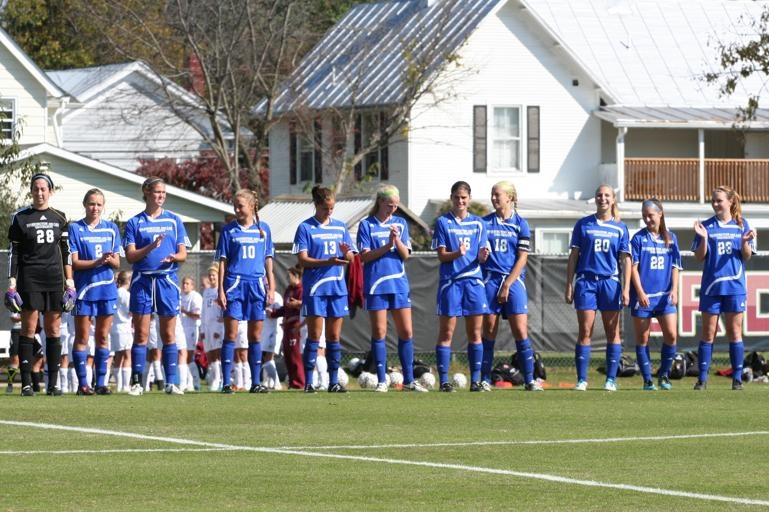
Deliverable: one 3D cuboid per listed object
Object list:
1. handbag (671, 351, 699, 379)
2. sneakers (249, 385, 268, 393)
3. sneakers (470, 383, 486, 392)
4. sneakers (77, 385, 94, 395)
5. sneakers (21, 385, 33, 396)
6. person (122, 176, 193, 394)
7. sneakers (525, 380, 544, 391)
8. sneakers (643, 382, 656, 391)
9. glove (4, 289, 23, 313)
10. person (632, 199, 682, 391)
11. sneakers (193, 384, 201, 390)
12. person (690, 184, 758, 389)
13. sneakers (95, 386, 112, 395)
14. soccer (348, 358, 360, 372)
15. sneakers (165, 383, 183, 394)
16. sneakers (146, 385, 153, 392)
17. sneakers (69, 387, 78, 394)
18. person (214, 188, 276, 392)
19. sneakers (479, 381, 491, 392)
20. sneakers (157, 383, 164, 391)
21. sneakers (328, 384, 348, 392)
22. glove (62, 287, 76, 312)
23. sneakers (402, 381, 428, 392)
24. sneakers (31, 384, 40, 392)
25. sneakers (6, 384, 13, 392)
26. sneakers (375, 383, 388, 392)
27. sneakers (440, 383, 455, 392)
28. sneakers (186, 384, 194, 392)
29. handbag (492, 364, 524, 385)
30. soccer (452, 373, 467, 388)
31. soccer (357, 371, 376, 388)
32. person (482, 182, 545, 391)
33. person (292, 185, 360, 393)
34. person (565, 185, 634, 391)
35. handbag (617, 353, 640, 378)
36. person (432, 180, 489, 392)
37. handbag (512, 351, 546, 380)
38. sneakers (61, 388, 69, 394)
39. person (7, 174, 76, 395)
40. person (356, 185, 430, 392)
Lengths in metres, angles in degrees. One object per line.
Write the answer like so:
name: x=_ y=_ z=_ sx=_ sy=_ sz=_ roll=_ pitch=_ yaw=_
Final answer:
handbag: x=6.482 y=2.222 z=36.765 sx=0.573 sy=0.797 sz=0.765 roll=1 pitch=-24 yaw=14
sneakers: x=-2.418 y=2.392 z=31.633 sx=0.375 sy=0.156 sz=0.137 roll=1 pitch=-3 yaw=8
sneakers: x=1.716 y=2.395 z=31.955 sx=0.142 sy=0.110 sz=0.251 roll=6 pitch=-11 yaw=-43
sneakers: x=-5.574 y=2.390 z=31.223 sx=0.157 sy=0.118 sz=0.281 roll=3 pitch=-6 yaw=-43
sneakers: x=-6.663 y=2.387 z=31.182 sx=0.235 sy=0.230 sz=0.142 roll=-1 pitch=-1 yaw=8
person: x=-4.253 y=0.471 z=31.073 sx=1.150 sy=3.938 sz=1.069 roll=1 pitch=-4 yaw=-21
sneakers: x=2.842 y=2.379 z=32.218 sx=0.198 sy=0.151 sz=0.366 roll=2 pitch=2 yaw=36
sneakers: x=5.034 y=2.398 z=32.399 sx=0.100 sy=0.112 sz=0.289 roll=3 pitch=4 yaw=44
glove: x=-6.809 y=0.766 z=30.788 sx=0.422 sy=0.304 sz=0.183 roll=18 pitch=-22 yaw=-40
person: x=5.124 y=0.633 z=32.228 sx=0.964 sy=3.614 sz=1.213 roll=-1 pitch=-4 yaw=9
sneakers: x=-3.920 y=2.597 z=34.754 sx=0.126 sy=0.131 sz=0.128 roll=1 pitch=2 yaw=41
person: x=6.446 y=0.528 z=32.350 sx=1.183 sy=3.844 sz=0.916 roll=-1 pitch=-4 yaw=9
sneakers: x=-5.254 y=2.388 z=31.173 sx=0.323 sy=0.135 sz=0.118 roll=-3 pitch=-2 yaw=21
soccer: x=-0.681 y=2.331 z=37.557 sx=0.217 sy=0.275 sz=0.278 roll=5 pitch=15 yaw=-28
sneakers: x=-3.947 y=2.400 z=31.482 sx=0.389 sy=0.158 sz=0.150 roll=-2 pitch=-3 yaw=33
sneakers: x=-4.832 y=2.571 z=34.199 sx=0.174 sy=0.155 sz=0.276 roll=3 pitch=1 yaw=-12
sneakers: x=-6.152 y=2.534 z=33.079 sx=0.130 sy=0.093 sz=0.164 roll=8 pitch=33 yaw=-29
person: x=-2.643 y=0.575 z=31.342 sx=1.024 sy=3.708 sz=0.956 roll=0 pitch=-4 yaw=-6
sneakers: x=1.879 y=2.380 z=32.089 sx=0.194 sy=0.176 sz=0.143 roll=-4 pitch=12 yaw=-41
sneakers: x=-4.609 y=2.556 z=34.350 sx=0.199 sy=0.220 sz=0.196 roll=0 pitch=-3 yaw=-11
sneakers: x=-0.931 y=2.380 z=31.690 sx=0.296 sy=0.123 sz=0.152 roll=-2 pitch=-1 yaw=13
glove: x=-5.784 y=0.707 z=30.719 sx=0.243 sy=0.386 sz=0.175 roll=-7 pitch=-23 yaw=24
sneakers: x=0.519 y=2.386 z=31.950 sx=0.512 sy=0.201 sz=0.183 roll=-2 pitch=-5 yaw=27
sneakers: x=-6.687 y=2.415 z=32.102 sx=0.147 sy=0.136 sz=0.145 roll=-2 pitch=5 yaw=-17
sneakers: x=-7.339 y=2.465 z=32.814 sx=0.116 sy=0.132 sz=0.337 roll=2 pitch=-4 yaw=-13
sneakers: x=-0.102 y=2.375 z=31.844 sx=0.133 sy=0.116 sz=0.258 roll=1 pitch=-9 yaw=2
sneakers: x=1.153 y=2.384 z=31.919 sx=0.123 sy=0.103 sz=0.244 roll=4 pitch=4 yaw=36
sneakers: x=-4.018 y=2.621 z=34.527 sx=0.204 sy=0.192 sz=0.177 roll=2 pitch=-8 yaw=-5
handbag: x=2.512 y=2.355 z=35.105 sx=0.485 sy=0.350 sz=0.415 roll=4 pitch=-3 yaw=16
soccer: x=1.433 y=2.452 z=34.193 sx=0.277 sy=0.285 sz=0.292 roll=-8 pitch=14 yaw=41
soccer: x=-0.387 y=2.366 z=33.508 sx=0.303 sy=0.222 sz=0.300 roll=20 pitch=-7 yaw=-8
person: x=2.306 y=0.486 z=31.813 sx=1.079 sy=3.909 sz=1.166 roll=-1 pitch=-4 yaw=4
person: x=-1.199 y=0.557 z=31.277 sx=1.071 sy=3.737 sz=1.120 roll=0 pitch=-4 yaw=-15
person: x=4.015 y=0.522 z=31.768 sx=1.177 sy=3.777 sz=0.741 roll=-1 pitch=-4 yaw=7
handbag: x=5.308 y=2.309 z=37.322 sx=0.469 sy=0.245 sz=0.626 roll=2 pitch=4 yaw=2
person: x=1.382 y=0.488 z=31.549 sx=1.040 sy=3.889 sz=1.178 roll=0 pitch=-4 yaw=-6
handbag: x=3.016 y=2.201 z=35.185 sx=0.668 sy=0.841 sz=0.810 roll=-3 pitch=-6 yaw=7
sneakers: x=-6.233 y=2.499 z=32.580 sx=0.162 sy=0.096 sz=0.158 roll=2 pitch=-7 yaw=-20
person: x=-6.363 y=0.458 z=30.922 sx=1.212 sy=3.986 sz=0.846 roll=0 pitch=-4 yaw=-11
person: x=-0.015 y=0.531 z=31.499 sx=0.943 sy=3.784 sz=1.158 roll=-2 pitch=-4 yaw=20
